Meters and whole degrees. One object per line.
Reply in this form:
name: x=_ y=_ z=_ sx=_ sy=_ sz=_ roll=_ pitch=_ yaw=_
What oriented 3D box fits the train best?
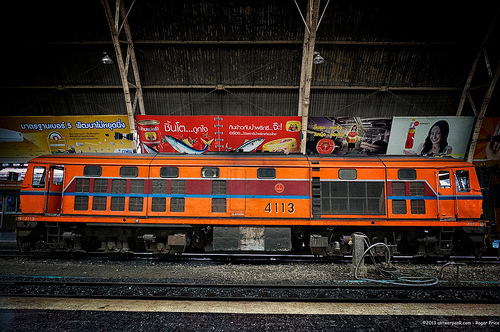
train: x=0.002 y=1.918 z=21.523 sx=22.146 sy=5.419 sz=1.059 roll=2 pitch=-12 yaw=1
